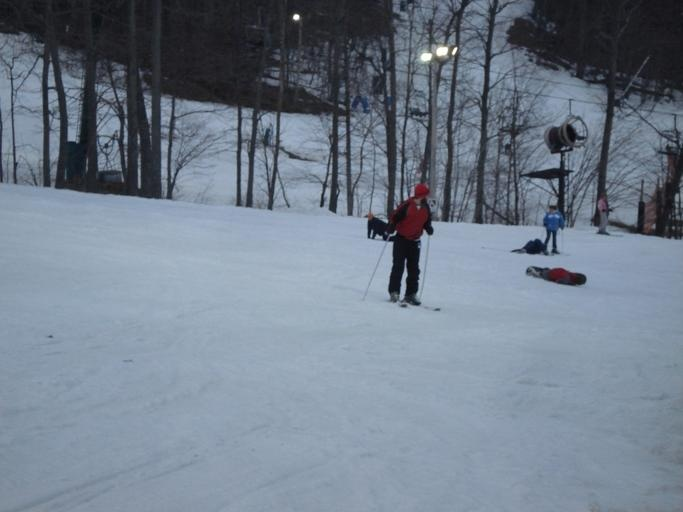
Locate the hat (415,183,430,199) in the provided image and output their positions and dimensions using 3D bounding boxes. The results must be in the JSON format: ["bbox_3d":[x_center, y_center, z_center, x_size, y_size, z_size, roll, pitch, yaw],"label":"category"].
[{"bbox_3d":[2.685,-2.184,28.908,0.461,0.332,0.355,-15,15,-10],"label":"hat"}]

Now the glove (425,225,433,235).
[{"bbox_3d":[3.000,-0.882,29.231,0.251,0.413,0.767,5,7,12],"label":"glove"}]

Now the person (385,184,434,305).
[{"bbox_3d":[2.285,-0.449,29.010,1.370,3.971,0.989,4,7,3],"label":"person"}]
